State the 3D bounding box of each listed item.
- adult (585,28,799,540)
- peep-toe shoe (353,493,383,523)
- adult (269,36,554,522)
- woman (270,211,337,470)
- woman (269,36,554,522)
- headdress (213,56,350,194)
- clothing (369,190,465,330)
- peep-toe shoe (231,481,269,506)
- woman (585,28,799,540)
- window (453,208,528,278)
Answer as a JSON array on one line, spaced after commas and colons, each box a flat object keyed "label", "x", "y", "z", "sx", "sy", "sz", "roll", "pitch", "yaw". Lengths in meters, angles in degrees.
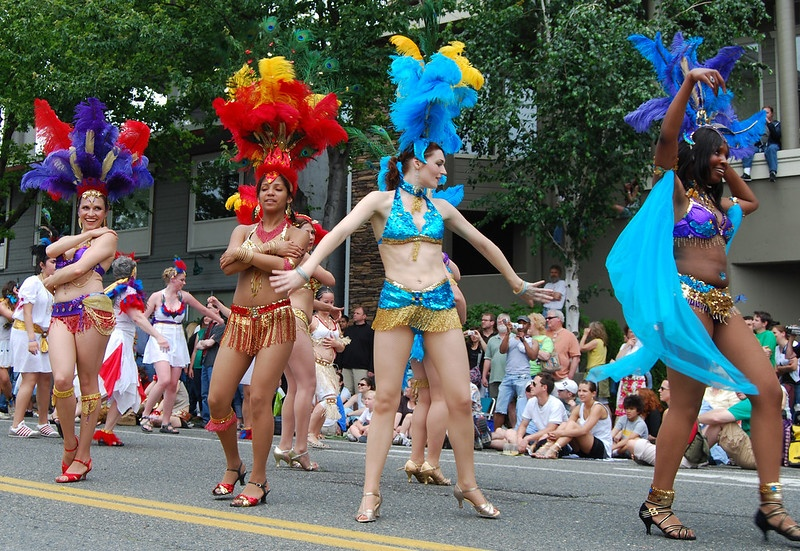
[{"label": "adult", "x": 2.092, "y": -0.017, "z": 5.999, "sx": 1.344, "sy": 3.617, "sz": 0.966, "roll": 2, "pitch": 0, "yaw": 6}, {"label": "peep-toe shoe", "x": -0.223, "y": 1.674, "z": 6.081, "sx": 0.179, "sy": 0.218, "sz": 0.269, "roll": 2, "pitch": 0, "yaw": -3}, {"label": "adult", "x": 0.164, "y": -0.055, "z": 6.498, "sx": 1.653, "sy": 3.704, "sz": 1.004, "roll": 2, "pitch": 0, "yaw": -6}, {"label": "woman", "x": -0.951, "y": 0.652, "z": 8.819, "sx": 0.904, "sy": 2.496, "sz": 0.663, "roll": 0, "pitch": -3, "yaw": -4}, {"label": "woman", "x": 0.169, "y": -0.055, "z": 6.498, "sx": 1.663, "sy": 3.704, "sz": 1.004, "roll": 2, "pitch": 0, "yaw": -6}, {"label": "headdress", "x": -1.095, "y": -1.348, "z": 7.577, "sx": 1.088, "sy": 0.943, "sz": 0.972, "roll": -22, "pitch": 41, "yaw": -32}, {"label": "clothing", "x": 0.161, "y": -0.105, "z": 6.392, "sx": 0.662, "sy": 1.111, "sz": 0.368, "roll": 2, "pitch": 0, "yaw": 3}, {"label": "peep-toe shoe", "x": -1.148, "y": 1.698, "z": 6.498, "sx": 0.157, "sy": 0.116, "sz": 0.285, "roll": -6, "pitch": -11, "yaw": 27}, {"label": "woman", "x": 2.093, "y": -0.017, "z": 5.997, "sx": 1.348, "sy": 3.617, "sz": 0.970, "roll": 2, "pitch": 0, "yaw": 6}, {"label": "window", "x": 2.013, "y": -0.693, "z": 17.333, "sx": 2.024, "sy": 2.079, "sz": 0.241, "roll": 1, "pitch": 11, "yaw": 14}]
